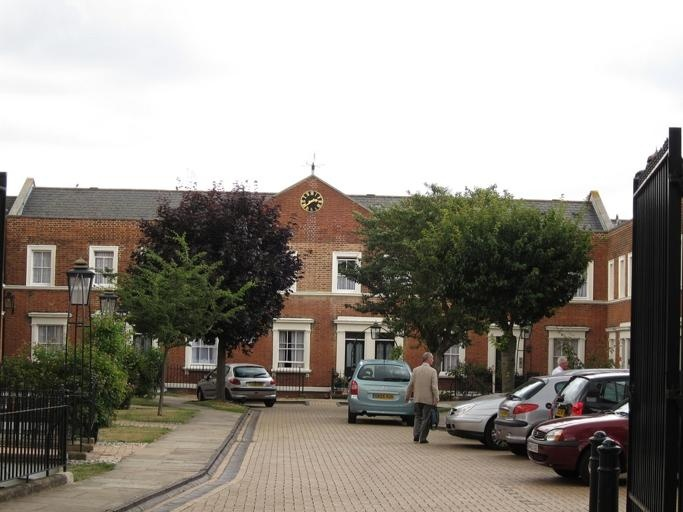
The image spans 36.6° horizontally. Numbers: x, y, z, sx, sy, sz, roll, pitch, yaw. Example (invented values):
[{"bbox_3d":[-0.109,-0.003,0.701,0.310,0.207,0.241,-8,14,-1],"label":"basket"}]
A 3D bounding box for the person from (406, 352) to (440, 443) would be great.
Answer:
[{"bbox_3d":[1.895,3.269,23.856,0.604,2.138,0.997,0,-9,-1],"label":"person"}]

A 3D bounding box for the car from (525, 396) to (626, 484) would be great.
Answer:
[{"bbox_3d":[4.035,3.145,17.161,1.747,0.892,1.005,-2,-1,-10],"label":"car"}]

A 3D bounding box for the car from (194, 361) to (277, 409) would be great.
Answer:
[{"bbox_3d":[-3.723,4.550,37.308,1.484,1.081,2.599,2,-1,-30],"label":"car"}]

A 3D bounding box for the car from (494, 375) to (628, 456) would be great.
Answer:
[{"bbox_3d":[4.149,2.984,20.286,2.108,0.860,1.011,-4,0,-16],"label":"car"}]

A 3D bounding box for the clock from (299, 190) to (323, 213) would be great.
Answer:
[{"bbox_3d":[-1.322,-2.443,46.044,0.897,1.010,0.953,8,1,12],"label":"clock"}]

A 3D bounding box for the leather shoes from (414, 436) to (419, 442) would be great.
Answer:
[{"bbox_3d":[1.693,4.172,23.499,0.084,0.124,0.185,6,-12,-32],"label":"leather shoes"}]

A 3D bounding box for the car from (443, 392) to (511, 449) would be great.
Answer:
[{"bbox_3d":[2.887,3.508,22.356,1.507,0.708,0.814,-1,-1,-7],"label":"car"}]
